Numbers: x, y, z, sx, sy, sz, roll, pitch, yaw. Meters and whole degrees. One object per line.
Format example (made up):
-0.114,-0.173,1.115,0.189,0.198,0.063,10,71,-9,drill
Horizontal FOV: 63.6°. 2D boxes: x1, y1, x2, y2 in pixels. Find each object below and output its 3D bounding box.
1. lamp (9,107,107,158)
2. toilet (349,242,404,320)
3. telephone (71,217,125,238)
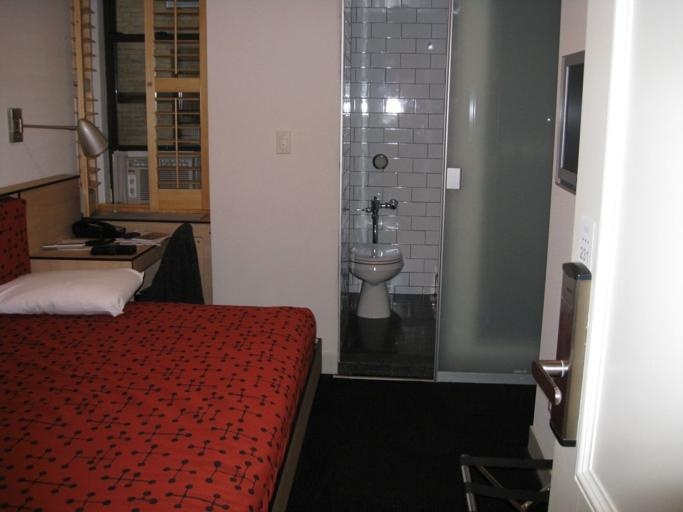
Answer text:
-1.679,-0.761,3.409,0.570,0.287,0.532,0,15,-4,lamp
0.264,0.230,4.489,0.455,0.623,0.536,0,5,3,toilet
-1.653,-0.175,3.735,0.282,0.111,0.161,2,4,-3,telephone
